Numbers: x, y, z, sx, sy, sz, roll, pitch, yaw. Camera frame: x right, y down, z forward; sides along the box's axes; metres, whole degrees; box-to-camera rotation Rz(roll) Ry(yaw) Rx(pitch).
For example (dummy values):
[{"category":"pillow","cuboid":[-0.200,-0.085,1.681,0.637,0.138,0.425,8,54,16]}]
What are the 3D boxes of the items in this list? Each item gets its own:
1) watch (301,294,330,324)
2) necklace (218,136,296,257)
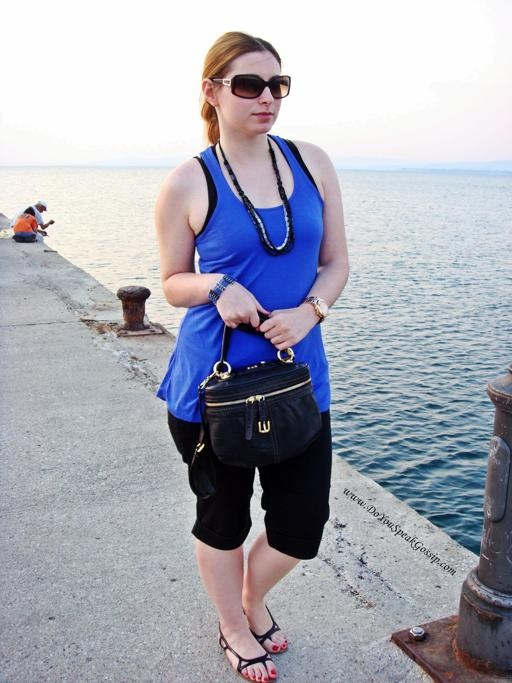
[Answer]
[{"category":"watch","cuboid":[0.172,-0.091,1.607,0.079,0.080,0.056,-20,3,40]},{"category":"necklace","cuboid":[0.000,-0.391,1.541,0.169,0.306,0.254,-6,15,-6]}]
